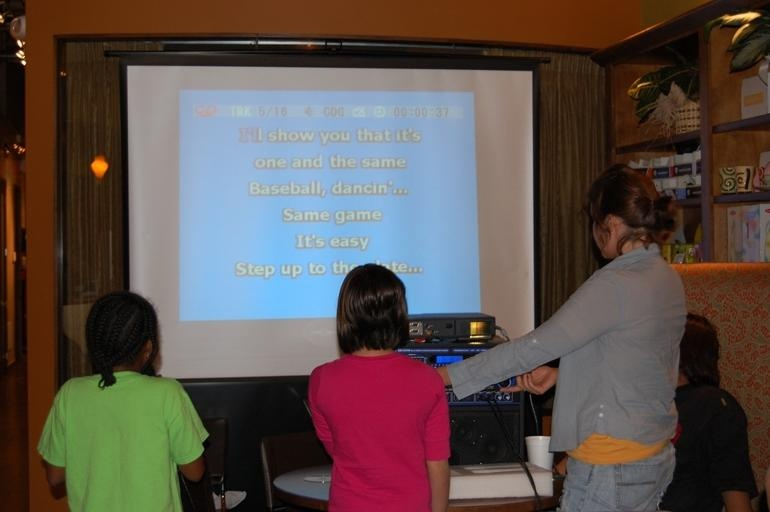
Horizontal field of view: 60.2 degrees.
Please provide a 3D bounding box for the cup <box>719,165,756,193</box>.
[{"bbox_3d":[2.092,-0.464,3.972,0.177,0.145,0.145,0,-3,0],"label":"cup"}]

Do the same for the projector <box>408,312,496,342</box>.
[{"bbox_3d":[0.382,0.389,3.657,0.444,0.151,0.319,3,5,-11],"label":"projector"}]

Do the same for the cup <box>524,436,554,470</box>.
[{"bbox_3d":[0.746,0.955,3.290,0.158,0.178,0.163,0,-4,0],"label":"cup"}]
